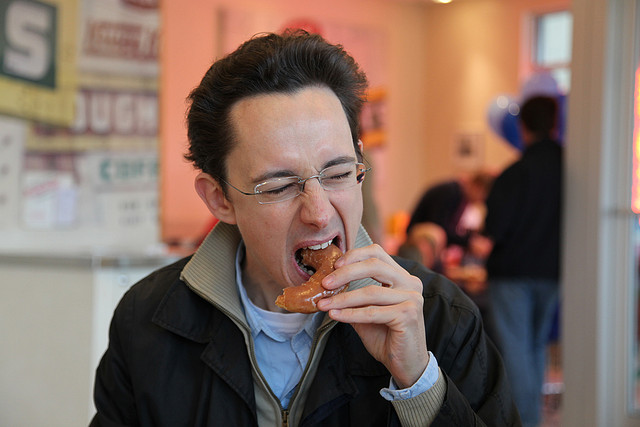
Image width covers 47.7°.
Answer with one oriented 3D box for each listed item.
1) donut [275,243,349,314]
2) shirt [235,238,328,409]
[{"bbox_3d":[-0.006,0.234,2.682,0.258,0.225,0.268,-4,3,17],"label":"donut"},{"bbox_3d":[-0.175,0.458,2.826,0.201,0.507,0.213,-9,10,-36],"label":"shirt"}]
